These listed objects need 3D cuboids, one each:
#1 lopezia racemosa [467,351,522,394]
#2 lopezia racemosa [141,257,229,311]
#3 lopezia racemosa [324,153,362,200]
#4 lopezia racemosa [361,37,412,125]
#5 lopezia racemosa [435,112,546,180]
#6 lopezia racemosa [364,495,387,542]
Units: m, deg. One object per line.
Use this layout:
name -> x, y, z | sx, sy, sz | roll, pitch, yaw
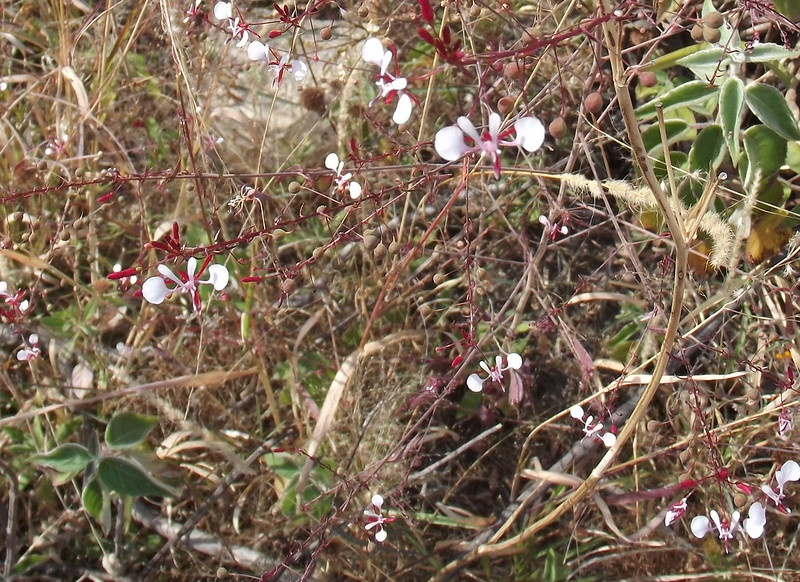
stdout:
lopezia racemosa -> 0.274, 0.250, 2.432 | 0.152, 0.160, 0.041 | -20, 0, -23
lopezia racemosa -> -0.578, -0.035, 2.166 | 0.153, 0.061, 0.167 | -17, 23, -19
lopezia racemosa -> -0.170, -0.330, 2.374 | 0.073, 0.040, 0.226 | -37, 45, 9
lopezia racemosa -> -0.033, -0.582, 2.156 | 0.050, 0.197, 0.106 | 40, 85, 15
lopezia racemosa -> 0.212, -0.359, 1.938 | 0.246, 0.250, 0.085 | 1, 82, 64
lopezia racemosa -> -0.071, 0.681, 2.415 | 0.087, 0.045, 0.116 | 22, 90, 49
